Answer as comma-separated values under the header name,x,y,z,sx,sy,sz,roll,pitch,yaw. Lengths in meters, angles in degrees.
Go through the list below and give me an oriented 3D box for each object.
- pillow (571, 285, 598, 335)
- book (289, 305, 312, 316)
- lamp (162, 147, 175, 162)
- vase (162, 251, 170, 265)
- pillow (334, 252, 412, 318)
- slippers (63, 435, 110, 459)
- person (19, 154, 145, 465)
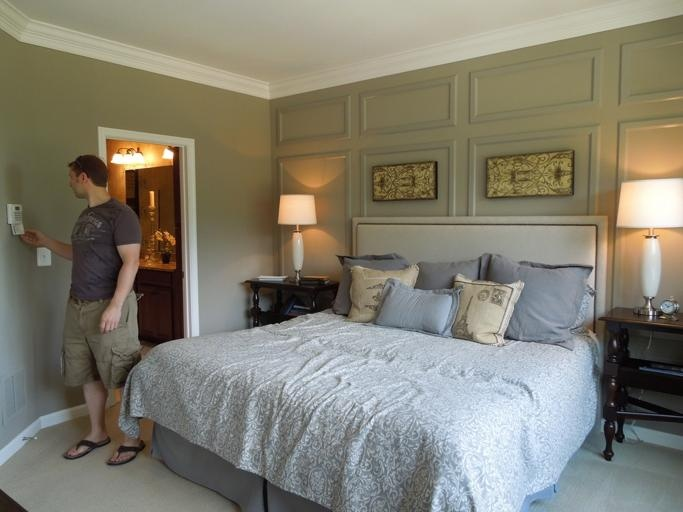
name,x,y,z,sx,sy,sz,roll,pitch,yaw
pillow,1.847,0.412,3.654,0.098,0.332,0.289,11,-14,17
book,-0.450,0.559,4.945,0.150,0.039,0.134,4,9,36
lamp,-2.140,-1.265,5.910,0.255,0.169,0.055,10,15,41
vase,-2.110,0.013,5.791,0.123,0.135,0.123,2,8,-8
pillow,0.265,0.275,4.338,0.593,0.565,0.179,-4,-28,44
slippers,-1.829,1.359,3.427,0.108,0.069,0.248,0,-1,32
person,-1.680,0.350,3.378,0.621,2.096,0.487,-1,12,-2
